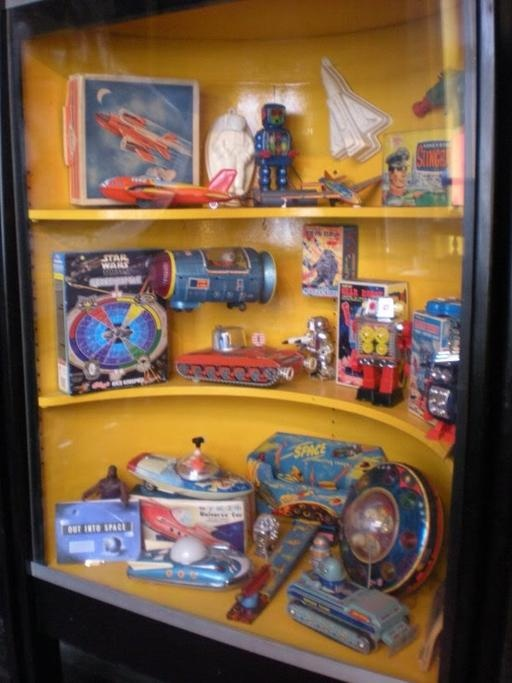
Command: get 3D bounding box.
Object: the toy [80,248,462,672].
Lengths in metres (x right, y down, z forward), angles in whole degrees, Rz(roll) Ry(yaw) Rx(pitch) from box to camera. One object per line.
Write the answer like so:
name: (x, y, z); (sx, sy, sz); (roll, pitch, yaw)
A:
toy: (0.015, 0.220, 1.100); (0.827, 0.710, 0.294); (3, 8, 20)
